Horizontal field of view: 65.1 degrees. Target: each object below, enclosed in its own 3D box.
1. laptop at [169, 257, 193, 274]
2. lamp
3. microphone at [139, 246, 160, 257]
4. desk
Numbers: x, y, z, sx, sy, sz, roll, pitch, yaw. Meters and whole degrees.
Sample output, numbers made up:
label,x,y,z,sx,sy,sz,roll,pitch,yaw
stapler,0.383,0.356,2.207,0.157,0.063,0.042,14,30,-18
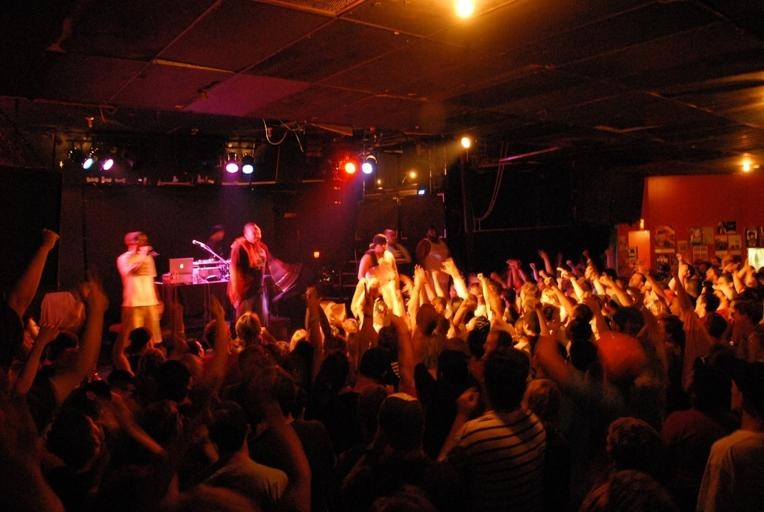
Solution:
label,x,y,z,sx,sy,sz,roll,pitch,yaw
laptop,-3.583,0.172,10.600,0.378,0.243,0.265,1,2,-31
lamp,-2.742,-1.780,10.817,4.560,0.972,1.362,4,6,-2
microphone,-3.183,-0.064,8.187,0.255,0.113,0.201,-3,-6,41
desk,-2.955,0.720,9.289,1.123,0.804,1.084,2,-5,-41
